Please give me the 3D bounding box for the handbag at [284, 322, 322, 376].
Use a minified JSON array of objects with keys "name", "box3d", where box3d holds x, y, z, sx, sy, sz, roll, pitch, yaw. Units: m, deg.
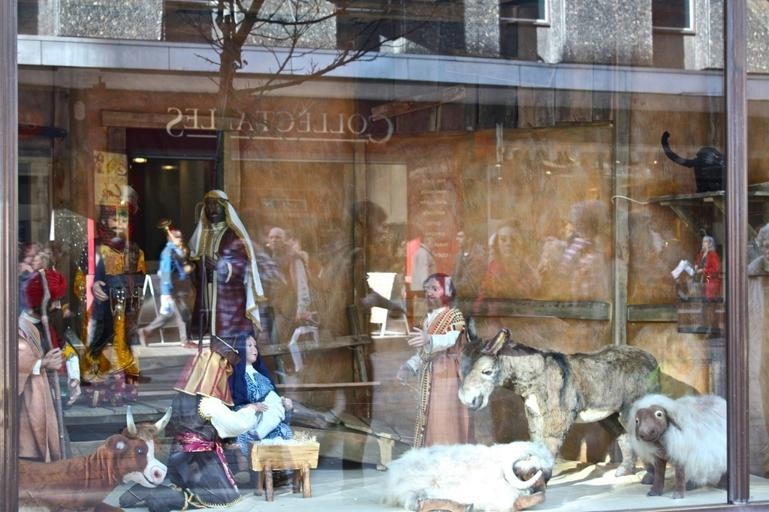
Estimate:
[{"name":"handbag","box3d":[-0.744,0.839,13.682,0.300,0.456,0.118,-1,-8,40]}]
